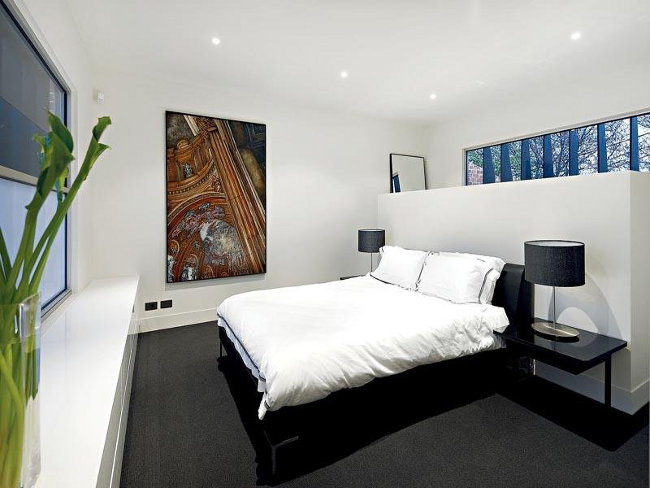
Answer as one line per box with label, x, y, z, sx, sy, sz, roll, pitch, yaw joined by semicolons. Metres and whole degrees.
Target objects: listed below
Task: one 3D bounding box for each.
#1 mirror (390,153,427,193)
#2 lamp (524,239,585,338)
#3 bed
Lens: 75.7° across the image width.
mirror;1.221;-1.067;6.300;0.702;0.814;0.071;-1;2;-29
lamp;1.885;0.351;3.448;0.436;0.876;0.496;-3;8;9
bed;0.405;0.847;3.323;1.936;0.861;1.454;-4;10;-22
